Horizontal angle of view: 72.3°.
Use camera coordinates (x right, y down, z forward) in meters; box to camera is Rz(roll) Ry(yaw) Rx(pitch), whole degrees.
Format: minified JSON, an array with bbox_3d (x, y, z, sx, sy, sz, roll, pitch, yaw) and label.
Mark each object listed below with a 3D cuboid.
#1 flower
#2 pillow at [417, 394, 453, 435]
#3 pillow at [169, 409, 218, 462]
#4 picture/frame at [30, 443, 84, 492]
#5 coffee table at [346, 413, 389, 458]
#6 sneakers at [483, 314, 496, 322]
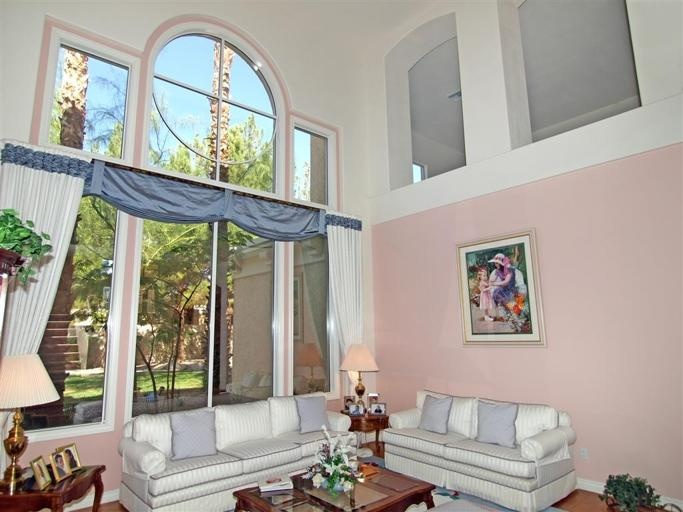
[{"bbox_3d":[-0.089,2.162,4.910,0.526,0.480,0.523,14,-22,-38],"label":"flower"},{"bbox_3d":[1.271,2.142,6.326,0.371,0.355,0.198,-10,-54,47],"label":"pillow"},{"bbox_3d":[-1.747,2.103,5.459,0.375,0.387,0.135,11,-37,-34],"label":"pillow"},{"bbox_3d":[-2.885,2.124,4.698,0.101,0.216,0.364,-21,-12,8],"label":"picture/frame"},{"bbox_3d":[0.390,2.702,7.190,0.581,0.776,0.812,-2,-8,17],"label":"coffee table"},{"bbox_3d":[2.079,0.875,6.599,0.055,0.089,0.122,5,-12,-37],"label":"sneakers"}]
